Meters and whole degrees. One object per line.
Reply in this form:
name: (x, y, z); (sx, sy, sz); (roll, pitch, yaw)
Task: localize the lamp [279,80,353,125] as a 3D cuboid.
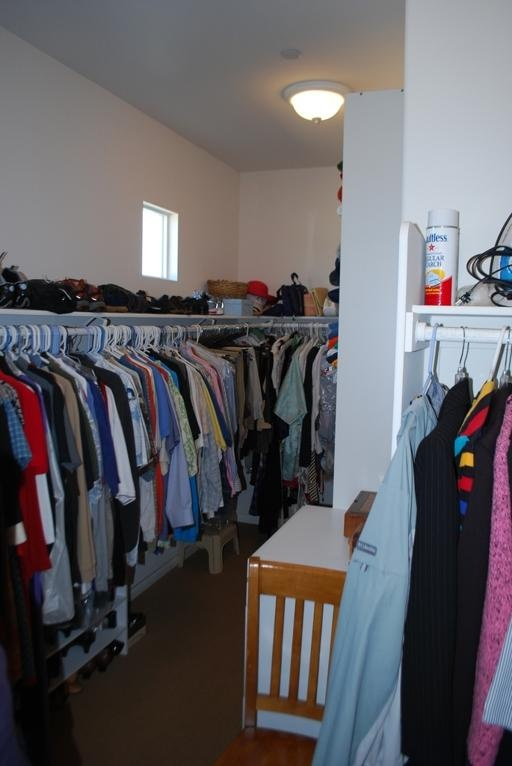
lamp: (0.333, -1.556, 3.033); (0.356, 0.156, 0.188); (2, 5, 3)

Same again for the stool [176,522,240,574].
stool: (-0.253, 0.884, 3.133); (0.298, 0.216, 0.274); (-2, -5, 24)

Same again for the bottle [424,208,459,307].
bottle: (0.320, -0.209, 0.929); (0.055, 0.163, 0.170); (3, 5, 20)

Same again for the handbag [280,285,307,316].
handbag: (0.268, -0.580, 3.898); (0.193, 0.280, 0.186); (0, -2, -13)

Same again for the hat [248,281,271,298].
hat: (0.020, -0.740, 4.317); (0.166, 0.150, 0.295); (2, 5, 2)

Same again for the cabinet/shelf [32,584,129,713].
cabinet/shelf: (-0.639, 0.978, 2.053); (0.155, 0.311, 0.533); (2, 5, 6)

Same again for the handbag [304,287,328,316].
handbag: (0.408, -0.560, 3.760); (0.134, 0.221, 0.206); (-3, 7, 7)
